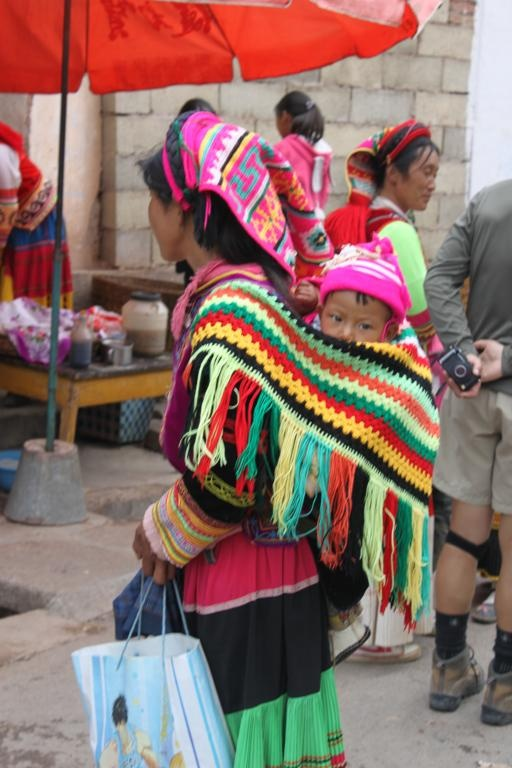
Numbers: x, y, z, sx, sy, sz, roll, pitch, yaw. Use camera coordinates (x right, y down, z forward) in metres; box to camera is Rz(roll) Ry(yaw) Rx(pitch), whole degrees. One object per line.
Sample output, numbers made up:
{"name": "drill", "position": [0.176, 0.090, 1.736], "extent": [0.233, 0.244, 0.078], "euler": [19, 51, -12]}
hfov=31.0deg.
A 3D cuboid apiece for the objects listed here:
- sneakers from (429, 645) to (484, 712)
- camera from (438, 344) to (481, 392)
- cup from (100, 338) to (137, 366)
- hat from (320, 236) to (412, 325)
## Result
{"name": "sneakers", "position": [0.622, 0.861, 2.858], "extent": [0.093, 0.185, 0.263], "euler": [5, 22, 27]}
{"name": "camera", "position": [0.562, -0.046, 2.553], "extent": [0.078, 0.128, 0.038], "euler": [-37, -15, 12]}
{"name": "cup", "position": [-0.719, -0.173, 4.789], "extent": [0.115, 0.115, 0.150], "euler": [1, 8, 10]}
{"name": "hat", "position": [0.216, -0.206, 1.801], "extent": [0.134, 0.151, 0.184], "euler": [12, -10, 9]}
